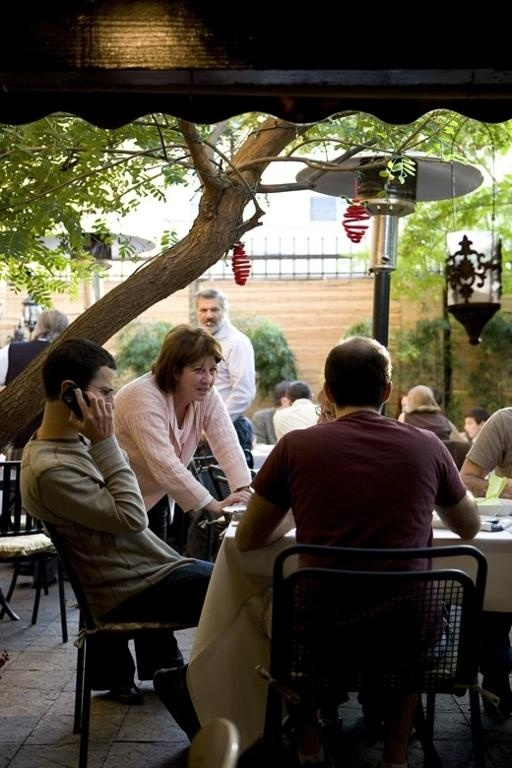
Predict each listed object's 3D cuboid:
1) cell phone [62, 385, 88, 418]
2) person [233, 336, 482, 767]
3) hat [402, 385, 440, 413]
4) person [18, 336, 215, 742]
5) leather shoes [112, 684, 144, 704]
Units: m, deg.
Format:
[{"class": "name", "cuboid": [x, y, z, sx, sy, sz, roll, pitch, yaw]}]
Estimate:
[{"class": "cell phone", "cuboid": [-0.537, 0.067, 2.024, 0.077, 0.106, 0.028, 6, 9, 30]}, {"class": "person", "cuboid": [0.310, 0.497, 1.755, 0.566, 1.192, 0.509, -1, 8, -19]}, {"class": "hat", "cuboid": [1.238, 0.157, 5.063, 0.273, 0.169, 0.266, 1, 1, 1]}, {"class": "person", "cuboid": [-0.426, 0.351, 2.142, 0.584, 0.946, 0.337, -1, 8, -17]}, {"class": "leather shoes", "cuboid": [-0.507, 1.295, 2.727, 0.163, 0.061, 0.061, -7, -9, 32]}]
